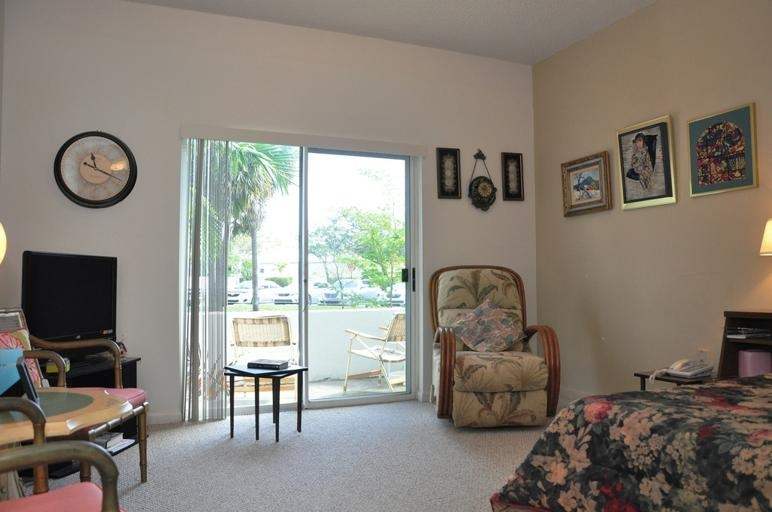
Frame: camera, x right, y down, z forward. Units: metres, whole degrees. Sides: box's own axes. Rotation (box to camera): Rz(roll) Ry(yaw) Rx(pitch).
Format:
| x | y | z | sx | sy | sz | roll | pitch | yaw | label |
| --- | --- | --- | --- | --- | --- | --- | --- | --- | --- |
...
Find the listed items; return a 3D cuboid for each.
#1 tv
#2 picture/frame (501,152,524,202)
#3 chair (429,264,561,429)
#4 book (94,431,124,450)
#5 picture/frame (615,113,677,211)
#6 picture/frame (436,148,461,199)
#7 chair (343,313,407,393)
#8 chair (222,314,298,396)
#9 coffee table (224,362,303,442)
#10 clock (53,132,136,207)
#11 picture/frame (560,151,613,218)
| x | y | z | sx | sy | sz | roll | pitch | yaw | label |
| --- | --- | --- | --- | --- | --- | --- | --- | --- | --- |
| -2.422 | 0.403 | 4.076 | 0.279 | 0.814 | 0.857 | -3 | -5 | 32 | tv |
| 1.354 | -0.852 | 5.786 | 0.259 | 0.511 | 0.089 | -2 | 6 | -14 | picture/frame |
| 0.893 | 0.889 | 5.109 | 1.074 | 1.576 | 1.443 | 1 | -10 | -4 | chair |
| -1.998 | 1.299 | 3.853 | 0.166 | 0.040 | 0.168 | 0 | -2 | 21 | book |
| 2.288 | -0.808 | 4.727 | 0.092 | 0.771 | 0.550 | -3 | 6 | -25 | picture/frame |
| 0.639 | -0.852 | 5.572 | 0.253 | 0.537 | 0.094 | -1 | 6 | -12 | picture/frame |
| -0.109 | 0.988 | 5.691 | 0.682 | 0.965 | 0.815 | -4 | -9 | 23 | chair |
| -1.110 | 0.947 | 5.281 | 0.704 | 0.904 | 0.661 | 0 | -2 | -8 | chair |
| -1.001 | 1.199 | 4.440 | 0.546 | 0.617 | 0.677 | 1 | -11 | -6 | coffee table |
| -2.500 | -0.742 | 4.655 | 0.635 | 0.666 | 0.112 | -1 | 6 | -11 | clock |
| 1.969 | -0.700 | 5.250 | 0.057 | 0.715 | 0.674 | 3 | -5 | -31 | picture/frame |
